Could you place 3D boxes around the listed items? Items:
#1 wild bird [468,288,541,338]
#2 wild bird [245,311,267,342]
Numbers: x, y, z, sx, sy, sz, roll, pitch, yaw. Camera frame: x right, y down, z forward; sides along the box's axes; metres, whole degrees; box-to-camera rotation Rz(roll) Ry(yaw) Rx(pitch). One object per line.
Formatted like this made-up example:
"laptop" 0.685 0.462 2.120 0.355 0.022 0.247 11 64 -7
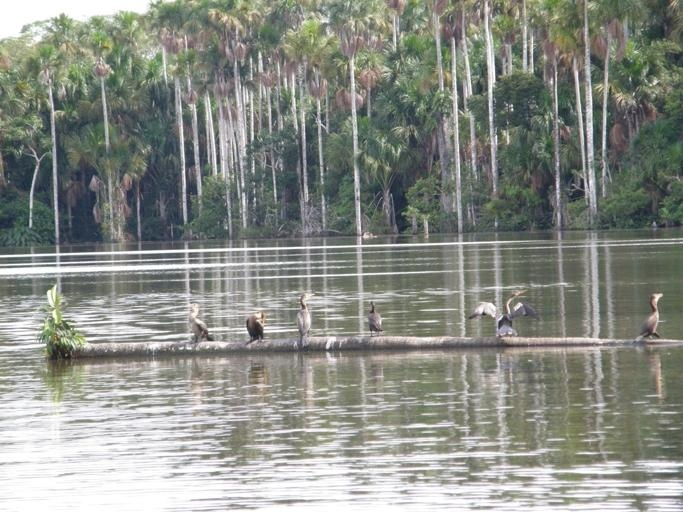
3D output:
"wild bird" 4.790 1.678 48.566 1.573 0.870 1.505 -4 6 -32
"wild bird" -2.429 1.961 48.735 0.492 0.845 0.492 -3 10 -10
